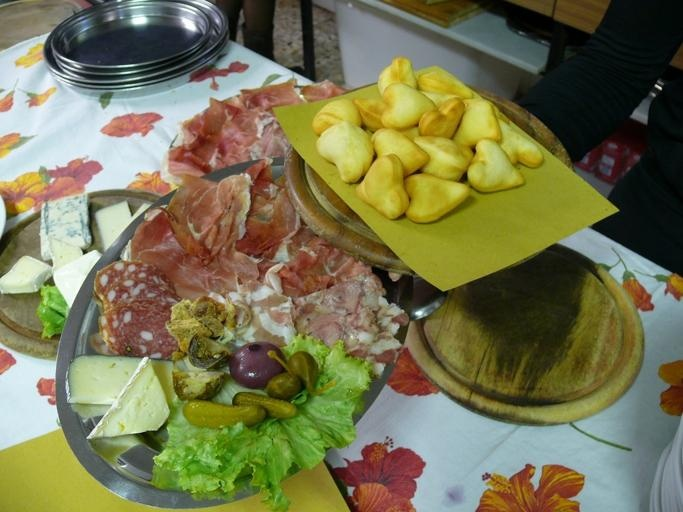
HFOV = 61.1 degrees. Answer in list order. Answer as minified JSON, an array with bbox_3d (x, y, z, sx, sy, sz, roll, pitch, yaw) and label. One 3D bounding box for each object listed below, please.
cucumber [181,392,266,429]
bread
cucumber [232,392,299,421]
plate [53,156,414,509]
[{"bbox_3d":[-0.173,0.230,0.861,0.116,0.039,0.043,-1,45,3],"label":"cucumber"},{"bbox_3d":[0.133,-0.194,0.987,0.303,0.089,0.301,-36,66,-14],"label":"bread"},{"bbox_3d":[-0.111,0.215,0.837,0.100,0.030,0.037,7,53,-1],"label":"cucumber"},{"bbox_3d":[-0.235,0.129,0.945,0.447,0.064,0.638,-16,65,-11],"label":"plate"}]
